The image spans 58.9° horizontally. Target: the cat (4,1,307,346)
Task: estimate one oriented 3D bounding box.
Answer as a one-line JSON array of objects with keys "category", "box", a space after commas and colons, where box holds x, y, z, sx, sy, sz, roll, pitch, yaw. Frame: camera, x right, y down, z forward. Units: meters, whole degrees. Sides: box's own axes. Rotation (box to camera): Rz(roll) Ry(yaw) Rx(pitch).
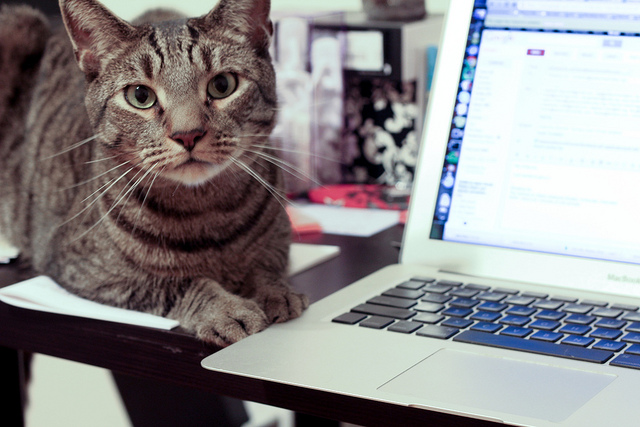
[{"category": "cat", "box": [-0.340, -0.151, 1.164, 0.505, 0.477, 0.918, -6, 18, -24]}]
